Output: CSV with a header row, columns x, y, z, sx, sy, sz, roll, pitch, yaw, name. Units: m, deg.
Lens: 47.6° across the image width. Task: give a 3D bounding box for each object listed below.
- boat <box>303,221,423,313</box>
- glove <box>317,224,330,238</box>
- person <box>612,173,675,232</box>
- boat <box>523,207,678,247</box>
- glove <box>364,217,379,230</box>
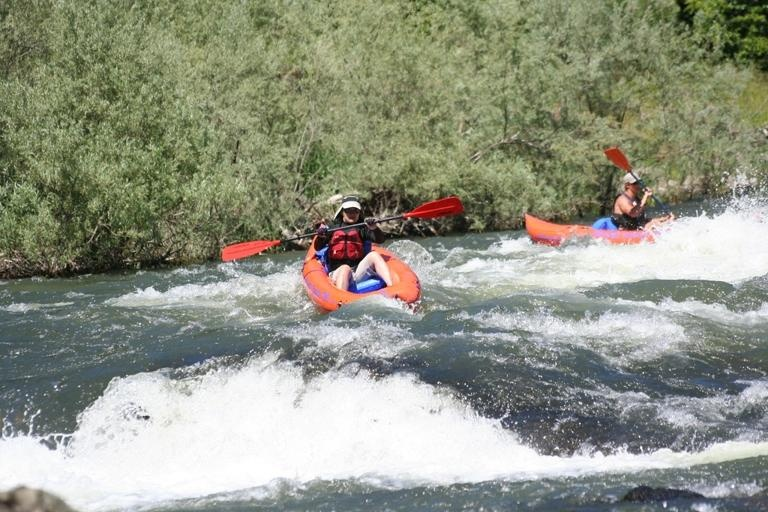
x,y,z,sx,sy,sz,roll,pitch,yaw,name
-0.421,0.297,14.415,2.028,0.974,1.673,-1,11,6,boat
-1.045,-0.409,14.867,0.229,0.085,0.185,-12,24,-36,glove
5.294,-1.024,17.689,1.238,1.266,0.845,-1,13,12,person
4.088,-0.492,17.665,0.876,0.698,2.946,-24,24,-38,boat
-0.221,-0.541,15.012,0.073,0.205,0.153,-23,22,29,glove
